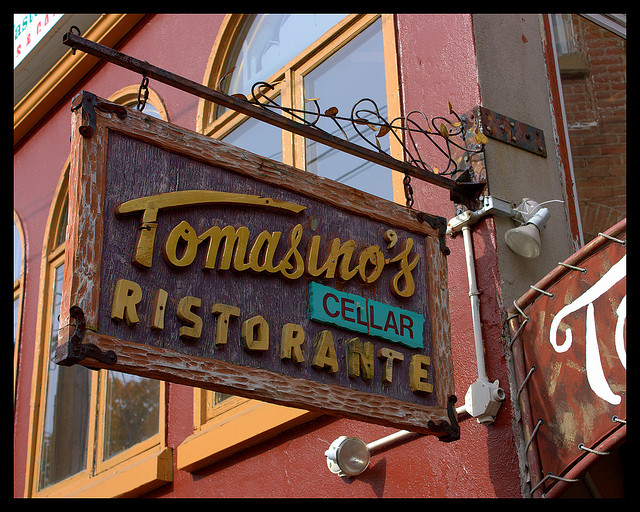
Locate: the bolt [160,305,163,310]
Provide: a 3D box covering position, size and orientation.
[{"bbox_3d":[-0.781,0.251,5.490,0.014,0.018,0.008,11,-15,-29],"label":"bolt"}]

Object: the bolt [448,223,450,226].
[{"bbox_3d":[0.814,-0.199,6.990,0.015,0.014,0.008,16,-35,-28],"label":"bolt"}]

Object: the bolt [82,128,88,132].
[{"bbox_3d":[-1.178,-0.632,5.587,0.017,0.019,0.004,7,-3,-10],"label":"bolt"}]

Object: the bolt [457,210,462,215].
[{"bbox_3d":[0.879,-0.277,6.975,0.026,0.029,0.015,3,-29,-14],"label":"bolt"}]

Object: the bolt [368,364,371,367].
[{"bbox_3d":[0.265,0.574,5.914,0.015,0.016,0.004,7,-1,-7],"label":"bolt"}]

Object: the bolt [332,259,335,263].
[{"bbox_3d":[0.075,0.025,5.987,0.013,0.011,0.014,-7,-14,29],"label":"bolt"}]

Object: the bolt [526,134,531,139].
[{"bbox_3d":[1.378,-0.783,7.313,0.038,0.040,0.003,17,-32,-32],"label":"bolt"}]

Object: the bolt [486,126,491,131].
[{"bbox_3d":[1.078,-0.808,7.067,0.035,0.039,0.006,23,-36,-39],"label":"bolt"}]

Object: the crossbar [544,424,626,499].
[{"bbox_3d":[1.443,1.115,6.109,0.093,0.073,0.646,33,-63,-7],"label":"crossbar"}]

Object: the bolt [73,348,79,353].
[{"bbox_3d":[-1.154,0.441,5.277,0.018,0.020,0.004,2,-5,-30],"label":"bolt"}]

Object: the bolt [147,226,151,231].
[{"bbox_3d":[-0.855,-0.141,5.576,0.019,0.022,0.005,3,-2,-13],"label":"bolt"}]

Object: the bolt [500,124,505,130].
[{"bbox_3d":[1.175,-0.829,7.149,0.035,0.038,0.003,16,-31,-30],"label":"bolt"}]

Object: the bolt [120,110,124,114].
[{"bbox_3d":[-1.011,-0.737,5.706,0.022,0.020,0.008,12,-30,-25],"label":"bolt"}]

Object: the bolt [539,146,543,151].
[{"bbox_3d":[1.466,-0.710,7.354,0.031,0.038,0.005,20,-34,-36],"label":"bolt"}]

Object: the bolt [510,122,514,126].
[{"bbox_3d":[1.253,-0.855,7.226,0.018,0.021,0.005,6,-13,-19],"label":"bolt"}]

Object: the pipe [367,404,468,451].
[{"bbox_3d":[0.578,0.951,6.241,0.790,0.145,0.119,-18,-47,20],"label":"pipe"}]

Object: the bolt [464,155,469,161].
[{"bbox_3d":[0.933,-0.620,7.061,0.019,0.029,0.007,-8,-42,8],"label":"bolt"}]

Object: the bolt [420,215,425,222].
[{"bbox_3d":[0.592,-0.218,6.405,0.029,0.030,0.008,3,-9,-30],"label":"bolt"}]

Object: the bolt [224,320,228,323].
[{"bbox_3d":[-0.472,0.326,5.618,0.014,0.016,0.003,1,-3,-12],"label":"bolt"}]
